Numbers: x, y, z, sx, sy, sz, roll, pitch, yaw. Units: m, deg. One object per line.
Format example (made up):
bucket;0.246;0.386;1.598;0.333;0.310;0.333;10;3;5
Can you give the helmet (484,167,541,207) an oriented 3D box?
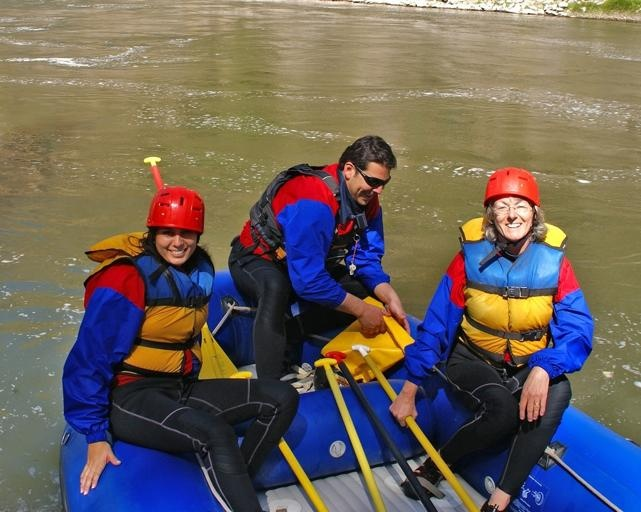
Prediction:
helmet;1.000;-0.354;3.782;0.270;0.207;0.221;5;17;11

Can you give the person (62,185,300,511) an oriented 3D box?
person;-0.675;0.422;3.478;1.028;1.427;0.808;1;19;-2

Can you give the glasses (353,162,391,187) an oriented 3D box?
glasses;0.294;-0.470;4.200;0.167;0.047;0.161;32;14;26

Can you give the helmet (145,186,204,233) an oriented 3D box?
helmet;-0.737;-0.228;3.674;0.242;0.149;0.284;13;-7;-15
